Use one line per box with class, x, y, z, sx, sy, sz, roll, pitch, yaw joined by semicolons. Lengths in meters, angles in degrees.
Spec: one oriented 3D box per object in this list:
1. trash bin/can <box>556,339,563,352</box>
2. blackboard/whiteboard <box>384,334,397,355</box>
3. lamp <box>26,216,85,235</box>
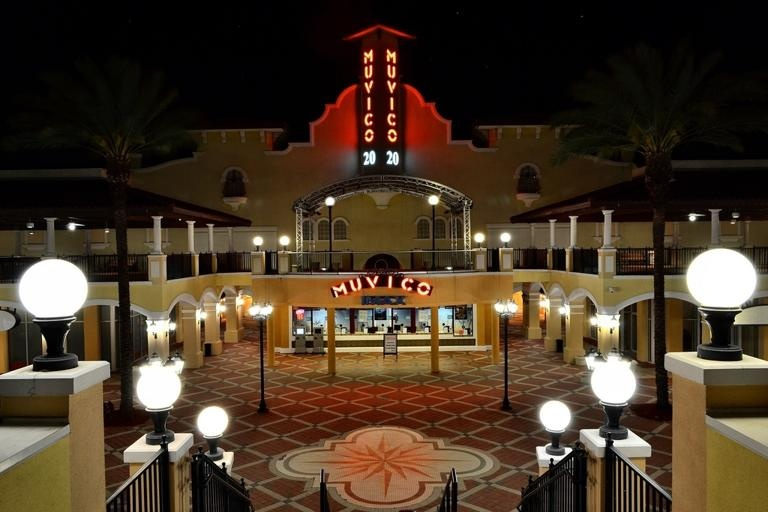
trash bin/can;9.494;4.804;33.822;0.296;0.673;0.376;-1;5;2
blackboard/whiteboard;0.309;4.464;31.925;0.580;1.074;0.670;0;5;8
lamp;-16.618;-1.596;31.276;2.964;0.736;0.742;1;-3;-2
